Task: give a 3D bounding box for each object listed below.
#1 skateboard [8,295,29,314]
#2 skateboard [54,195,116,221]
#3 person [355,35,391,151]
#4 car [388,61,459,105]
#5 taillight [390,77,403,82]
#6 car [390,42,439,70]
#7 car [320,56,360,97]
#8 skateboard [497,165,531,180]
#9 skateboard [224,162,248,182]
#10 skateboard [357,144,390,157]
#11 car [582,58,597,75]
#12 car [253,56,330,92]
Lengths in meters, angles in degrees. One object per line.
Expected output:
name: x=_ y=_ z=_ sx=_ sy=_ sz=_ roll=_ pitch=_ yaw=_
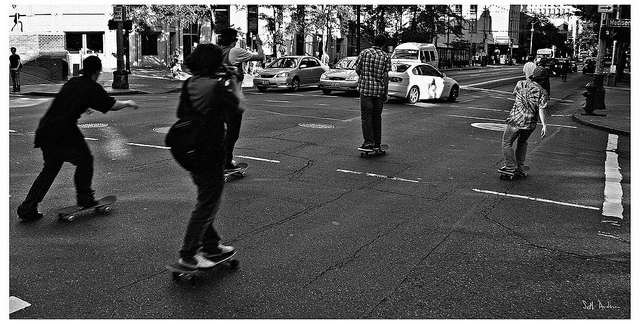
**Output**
skateboard: x=-4.440 y=2.076 z=6.509 sx=0.291 sy=0.117 sz=0.180 roll=12 pitch=16 yaw=43
skateboard: x=-4.500 y=0.877 z=8.530 sx=1.234 sy=0.194 sz=0.358 roll=-12 pitch=51 yaw=-27
person: x=1.474 y=-1.929 z=12.403 sx=0.906 sy=3.190 sz=1.270 roll=3 pitch=12 yaw=6
car: x=5.376 y=-4.138 z=23.227 sx=4.279 sy=2.096 sz=0.917 roll=-7 pitch=14 yaw=-33
taillight: x=3.852 y=-4.089 z=22.151 sx=0.534 sy=0.221 sz=0.065 roll=1 pitch=12 yaw=-1
car: x=8.290 y=-9.536 z=39.081 sx=3.041 sy=2.500 sz=4.994 roll=10 pitch=35 yaw=28
car: x=1.214 y=-5.081 z=26.435 sx=2.205 sy=2.288 sz=2.562 roll=1 pitch=12 yaw=1
skateboard: x=5.015 y=0.267 z=11.020 sx=1.034 sy=0.329 sz=0.291 roll=3 pitch=10 yaw=1
skateboard: x=-1.979 y=0.214 z=10.472 sx=0.763 sy=0.129 sz=0.215 roll=-17 pitch=64 yaw=-37
skateboard: x=1.647 y=-0.327 z=12.482 sx=1.267 sy=0.263 sz=0.208 roll=-5 pitch=-3 yaw=-37
car: x=39.727 y=-14.081 z=65.278 sx=1.180 sy=2.290 sz=4.447 roll=7 pitch=13 yaw=25
car: x=-1.970 y=-5.861 z=29.505 sx=2.074 sy=2.350 sz=4.654 roll=11 pitch=15 yaw=39
